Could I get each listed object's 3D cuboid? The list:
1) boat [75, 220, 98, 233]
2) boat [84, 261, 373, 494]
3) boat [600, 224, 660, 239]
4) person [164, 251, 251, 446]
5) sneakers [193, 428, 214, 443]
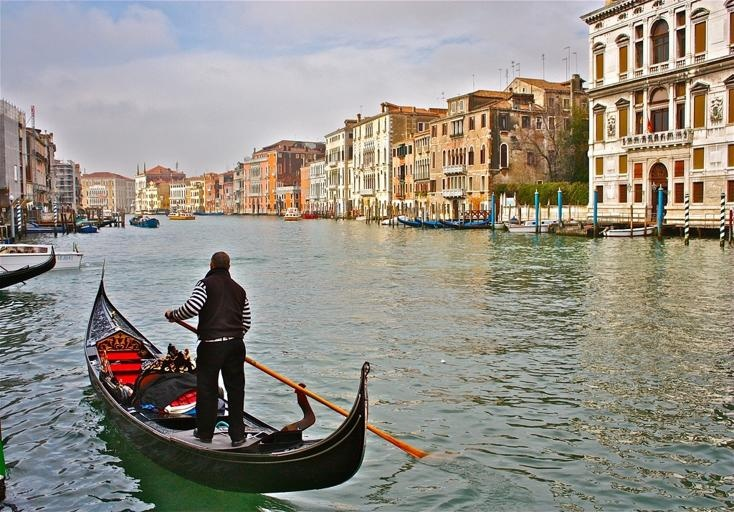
[{"bbox_3d":[-25.311,-2.565,76.083,1.277,1.137,3.767,-6,6,-30],"label":"boat"},{"bbox_3d":[-3.206,2.432,15.312,1.911,2.800,9.313,0,7,-34],"label":"boat"},{"bbox_3d":[14.757,-1.329,46.953,2.782,0.600,0.931,-1,7,-4],"label":"boat"},{"bbox_3d":[-2.153,1.560,12.397,0.902,2.537,0.342,-1,3,-5],"label":"person"},{"bbox_3d":[-2.399,2.726,12.567,0.142,0.148,0.370,-1,10,-23],"label":"sneakers"}]
